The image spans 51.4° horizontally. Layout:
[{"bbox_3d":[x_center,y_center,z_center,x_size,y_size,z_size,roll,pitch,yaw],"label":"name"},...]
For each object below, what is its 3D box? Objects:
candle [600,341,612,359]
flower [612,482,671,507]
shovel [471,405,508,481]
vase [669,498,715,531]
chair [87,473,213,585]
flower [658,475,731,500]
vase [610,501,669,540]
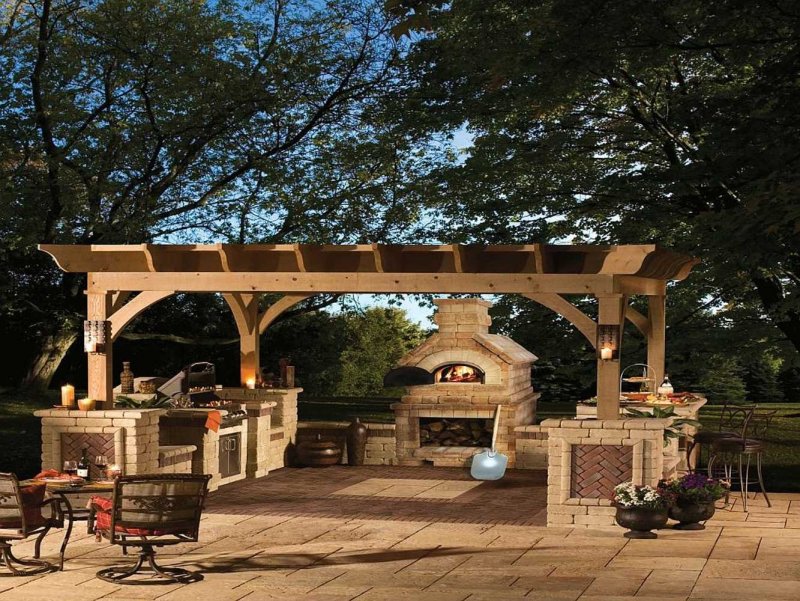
[{"bbox_3d":[2.850,0.702,11.504,0.177,0.229,0.043,-4,-9,4],"label":"candle"},{"bbox_3d":[3.138,2.526,10.803,0.672,0.170,0.527,0,0,4],"label":"flower"},{"bbox_3d":[1.671,2.686,15.113,0.737,1.125,0.266,9,-9,8],"label":"shovel"},{"bbox_3d":[3.831,2.838,11.130,0.688,0.238,0.510,-1,-2,-12],"label":"vase"},{"bbox_3d":[-2.901,2.458,8.982,1.344,1.001,1.202,-24,-27,24],"label":"chair"},{"bbox_3d":[3.874,2.489,11.089,0.774,0.238,0.692,-2,-3,40],"label":"flower"},{"bbox_3d":[3.076,2.798,10.612,0.752,0.244,0.523,0,-6,-1],"label":"vase"}]
